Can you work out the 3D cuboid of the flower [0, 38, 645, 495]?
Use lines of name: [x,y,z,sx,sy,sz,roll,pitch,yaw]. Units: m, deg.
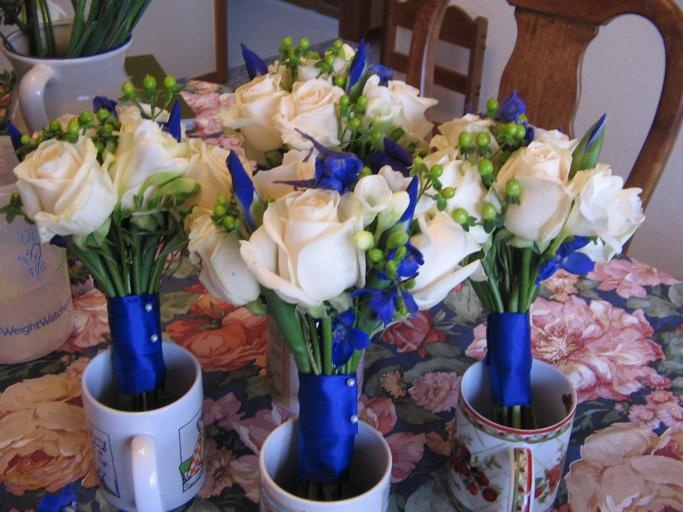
flower: [-0.017,0.090,0.829,0.724,0.644,0.439,10,53,6]
